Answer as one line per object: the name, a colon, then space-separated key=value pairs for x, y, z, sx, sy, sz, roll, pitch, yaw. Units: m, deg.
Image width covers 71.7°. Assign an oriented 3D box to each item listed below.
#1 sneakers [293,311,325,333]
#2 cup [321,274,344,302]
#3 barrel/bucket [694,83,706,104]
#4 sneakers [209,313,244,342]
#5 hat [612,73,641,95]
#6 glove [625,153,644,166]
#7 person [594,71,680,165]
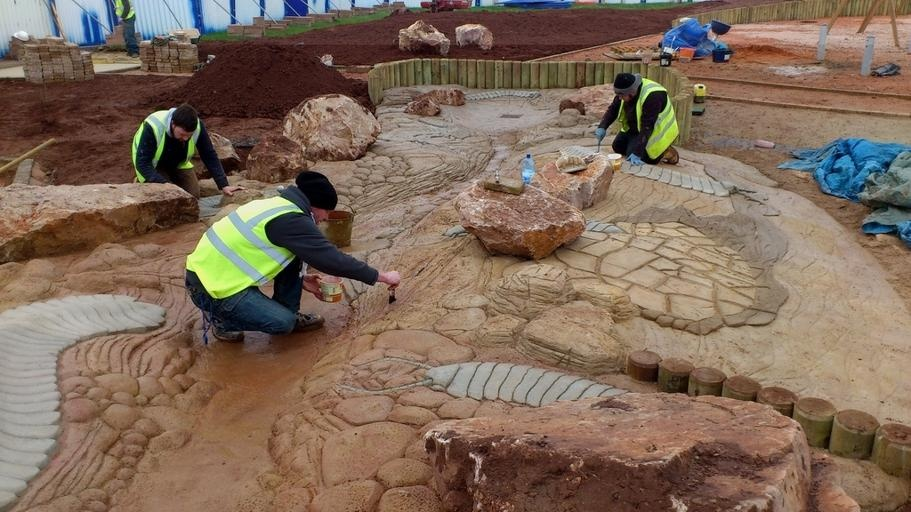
sneakers: x=-1.623 y=0.701 z=6.713 sx=0.443 sy=0.153 sz=0.111 roll=-6 pitch=46 yaw=-8
cup: x=-1.305 y=0.338 z=6.826 sx=0.323 sy=0.228 sz=0.300 roll=1 pitch=14 yaw=0
barrel/bucket: x=4.793 y=-3.201 z=12.360 sx=0.180 sy=0.341 sz=0.353 roll=3 pitch=25 yaw=9
sneakers: x=-2.248 y=0.752 z=6.532 sx=0.469 sy=0.242 sz=0.178 roll=12 pitch=40 yaw=0
hat: x=2.553 y=-2.568 z=9.255 sx=0.318 sy=0.157 sz=0.406 roll=24 pitch=52 yaw=40
glove: x=2.655 y=-1.433 z=9.209 sx=0.262 sy=0.159 sz=0.251 roll=4 pitch=23 yaw=12
person: x=2.713 y=-2.057 z=9.378 sx=0.884 sy=1.295 sz=0.941 roll=-18 pitch=30 yaw=-29
